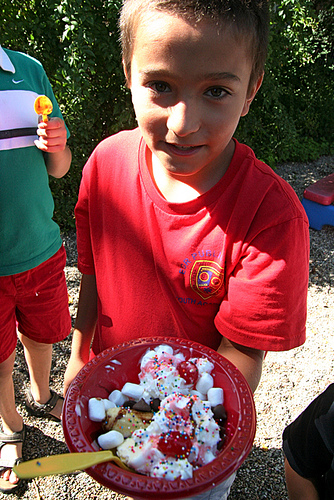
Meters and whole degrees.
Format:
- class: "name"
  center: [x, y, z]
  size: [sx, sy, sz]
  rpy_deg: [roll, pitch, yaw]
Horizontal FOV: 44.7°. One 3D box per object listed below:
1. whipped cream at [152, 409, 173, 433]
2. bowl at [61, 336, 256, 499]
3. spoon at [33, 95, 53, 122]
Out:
- class: "whipped cream"
  center: [-0.008, 0.341, 0.804]
  size: [0.031, 0.023, 0.054]
  rpy_deg: [-16, 38, -27]
- class: "bowl"
  center: [-0.010, 0.327, 0.810]
  size: [0.311, 0.111, 0.311]
  rpy_deg: [-3, 38, 3]
- class: "spoon"
  center: [-0.492, -0.559, 1.621]
  size: [0.063, 0.109, 0.024]
  rpy_deg: [0, 16, -8]
